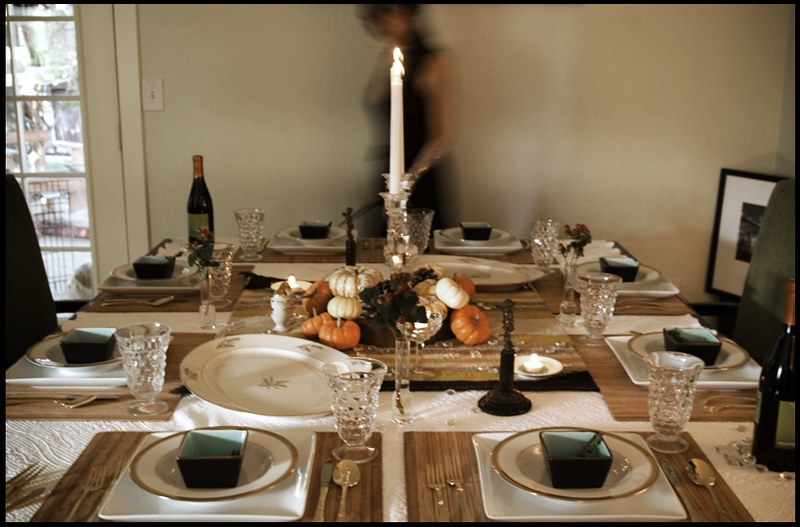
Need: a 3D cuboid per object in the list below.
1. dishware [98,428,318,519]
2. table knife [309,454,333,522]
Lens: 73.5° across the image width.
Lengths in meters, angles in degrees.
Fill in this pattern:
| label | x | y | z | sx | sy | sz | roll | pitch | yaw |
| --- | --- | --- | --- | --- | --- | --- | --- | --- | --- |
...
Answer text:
| label | x | y | z | sx | sy | sz | roll | pitch | yaw |
| --- | --- | --- | --- | --- | --- | --- | --- | --- | --- |
| dishware | -0.325 | 0.369 | 0.951 | 0.340 | 0.060 | 0.224 | -3 | 15 | -7 |
| table knife | -0.139 | 0.397 | 0.939 | 0.025 | 0.007 | 0.170 | 0 | 16 | 7 |
